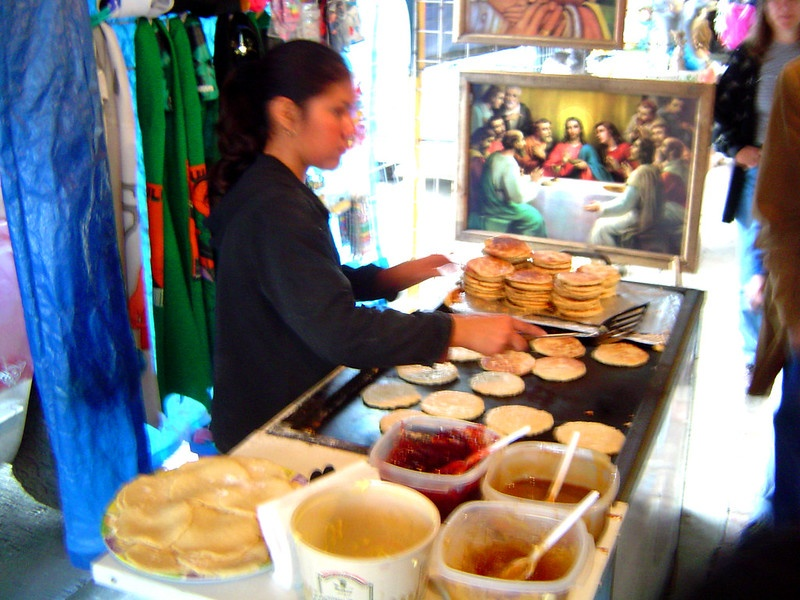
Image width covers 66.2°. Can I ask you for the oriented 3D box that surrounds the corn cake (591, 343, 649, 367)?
[{"bbox_3d":[0.778,0.188,2.142,0.184,0.031,0.190,8,17,33],"label":"corn cake"}]

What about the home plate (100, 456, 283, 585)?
[{"bbox_3d":[-0.414,0.440,1.261,0.349,0.111,0.287,1,14,9],"label":"home plate"}]

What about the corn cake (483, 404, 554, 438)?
[{"bbox_3d":[0.355,0.354,1.814,0.212,0.028,0.169,-1,14,1],"label":"corn cake"}]

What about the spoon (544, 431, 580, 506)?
[{"bbox_3d":[0.363,0.378,1.365,0.023,0.149,0.025,24,15,27],"label":"spoon"}]

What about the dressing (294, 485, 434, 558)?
[{"bbox_3d":[-0.068,0.456,1.244,0.245,0.112,0.249,9,-24,-41],"label":"dressing"}]

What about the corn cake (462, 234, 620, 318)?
[{"bbox_3d":[0.605,-0.160,2.558,0.427,0.132,0.391,-9,20,-39],"label":"corn cake"}]

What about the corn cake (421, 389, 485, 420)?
[{"bbox_3d":[0.163,0.322,1.906,0.198,0.034,0.168,0,14,8],"label":"corn cake"}]

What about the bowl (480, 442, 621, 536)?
[{"bbox_3d":[0.265,0.409,1.319,0.182,0.073,0.205,-12,11,32],"label":"bowl"}]

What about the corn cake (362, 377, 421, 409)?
[{"bbox_3d":[-0.023,0.297,1.926,0.164,0.041,0.214,4,15,22],"label":"corn cake"}]

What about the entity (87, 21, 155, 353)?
[{"bbox_3d":[-1.256,-0.462,2.828,0.145,1.500,0.124,-9,17,-26],"label":"entity"}]
